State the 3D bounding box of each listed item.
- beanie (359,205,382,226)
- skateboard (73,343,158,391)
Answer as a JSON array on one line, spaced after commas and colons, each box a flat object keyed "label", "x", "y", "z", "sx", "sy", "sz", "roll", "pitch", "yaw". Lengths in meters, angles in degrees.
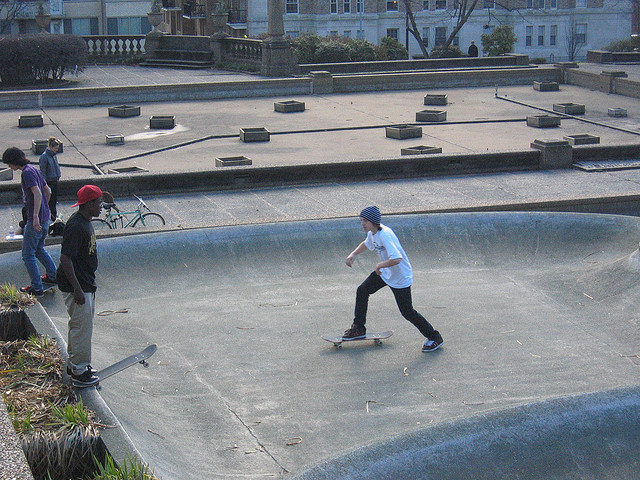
[{"label": "beanie", "x": 0.852, "y": -0.393, "z": 18.328, "sx": 0.302, "sy": 0.298, "sz": 0.255, "roll": 3, "pitch": 15, "yaw": 10}, {"label": "skateboard", "x": -3.287, "y": 2.066, "z": 17.570, "sx": 1.359, "sy": 0.200, "sz": 0.317, "roll": -25, "pitch": 28, "yaw": -25}]
